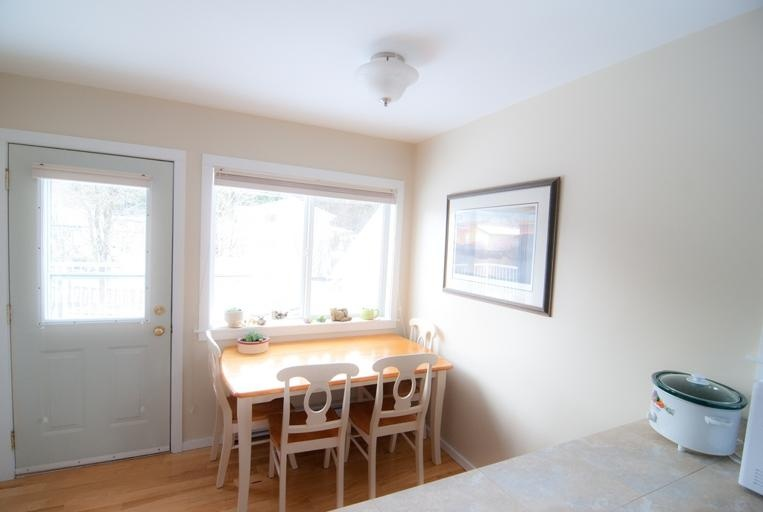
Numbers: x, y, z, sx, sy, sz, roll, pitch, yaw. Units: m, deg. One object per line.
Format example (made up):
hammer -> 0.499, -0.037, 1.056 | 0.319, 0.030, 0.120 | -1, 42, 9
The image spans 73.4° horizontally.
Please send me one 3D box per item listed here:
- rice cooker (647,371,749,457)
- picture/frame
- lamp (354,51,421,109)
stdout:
rice cooker -> 1.818, 0.848, 2.949 | 0.517, 0.372, 0.583 | 6, 13, 11
picture/frame -> 0.866, -0.062, 3.964 | 0.969, 0.957, 0.067 | 5, 6, 41
lamp -> 0.032, -1.141, 3.427 | 0.419, 0.322, 0.422 | 6, 1, 17
